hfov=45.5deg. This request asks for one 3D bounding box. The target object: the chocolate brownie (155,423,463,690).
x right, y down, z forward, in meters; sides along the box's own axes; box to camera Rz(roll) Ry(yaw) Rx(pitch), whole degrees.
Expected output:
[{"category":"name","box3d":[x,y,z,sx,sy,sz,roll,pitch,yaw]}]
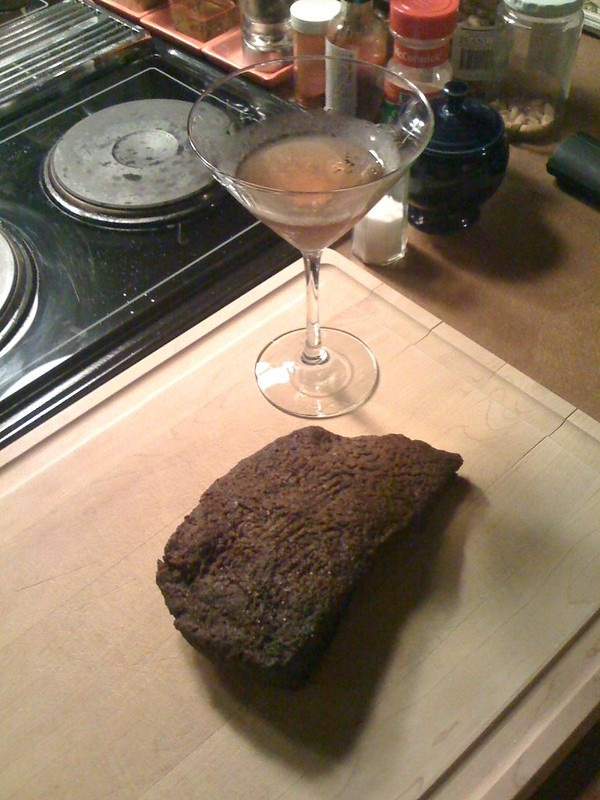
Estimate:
[{"category":"chocolate brownie","box3d":[-0.001,0.101,0.614,0.164,0.061,0.269,27,50,25]}]

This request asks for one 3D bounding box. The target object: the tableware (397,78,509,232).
[{"category":"tableware","box3d":[0.176,-0.291,0.852,0.138,0.160,0.136,29,63,25]}]
